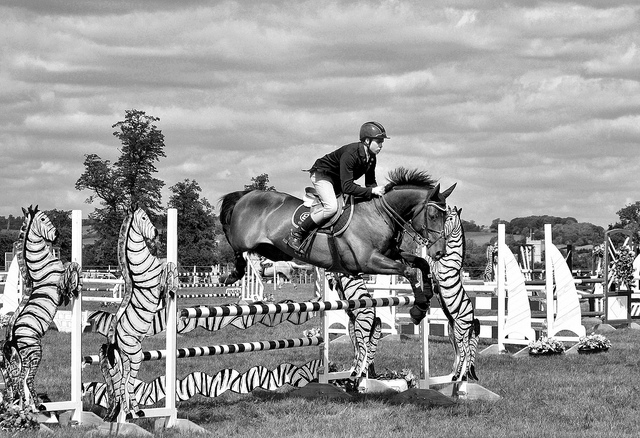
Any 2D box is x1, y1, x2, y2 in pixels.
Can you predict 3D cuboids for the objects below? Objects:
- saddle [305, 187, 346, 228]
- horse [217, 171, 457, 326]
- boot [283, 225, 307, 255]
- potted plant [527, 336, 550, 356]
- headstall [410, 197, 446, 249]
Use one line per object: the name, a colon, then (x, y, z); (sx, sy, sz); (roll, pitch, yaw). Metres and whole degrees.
saddle: (0.037, -0.198, 16.278); (0.443, 0.594, 0.215); (32, 22, 31)
horse: (0.069, 0.211, 16.767); (3.684, 1.984, 0.988); (7, 0, 28)
boot: (-0.349, 0.267, 16.468); (0.345, 0.341, 0.162); (30, 5, 23)
potted plant: (3.506, 2.043, 19.318); (0.346, 0.234, 0.294); (-1, -5, 9)
headstall: (1.406, 0.038, 15.905); (0.491, 0.664, 0.109); (-3, -6, 27)
